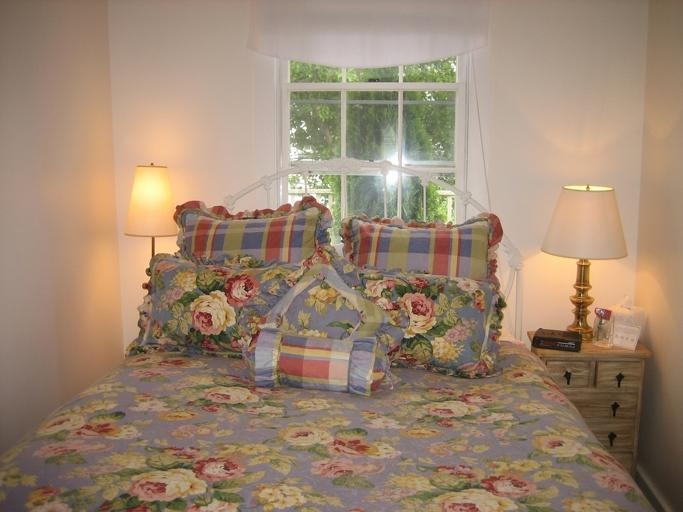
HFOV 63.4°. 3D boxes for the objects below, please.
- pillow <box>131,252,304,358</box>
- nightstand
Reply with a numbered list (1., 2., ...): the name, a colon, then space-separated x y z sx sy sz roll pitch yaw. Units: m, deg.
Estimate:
1. pillow: -0.543 0.206 2.366 0.653 0.430 0.195 7 -11 18
2. nightstand: 1.196 0.746 2.995 0.703 0.963 0.580 0 5 5
